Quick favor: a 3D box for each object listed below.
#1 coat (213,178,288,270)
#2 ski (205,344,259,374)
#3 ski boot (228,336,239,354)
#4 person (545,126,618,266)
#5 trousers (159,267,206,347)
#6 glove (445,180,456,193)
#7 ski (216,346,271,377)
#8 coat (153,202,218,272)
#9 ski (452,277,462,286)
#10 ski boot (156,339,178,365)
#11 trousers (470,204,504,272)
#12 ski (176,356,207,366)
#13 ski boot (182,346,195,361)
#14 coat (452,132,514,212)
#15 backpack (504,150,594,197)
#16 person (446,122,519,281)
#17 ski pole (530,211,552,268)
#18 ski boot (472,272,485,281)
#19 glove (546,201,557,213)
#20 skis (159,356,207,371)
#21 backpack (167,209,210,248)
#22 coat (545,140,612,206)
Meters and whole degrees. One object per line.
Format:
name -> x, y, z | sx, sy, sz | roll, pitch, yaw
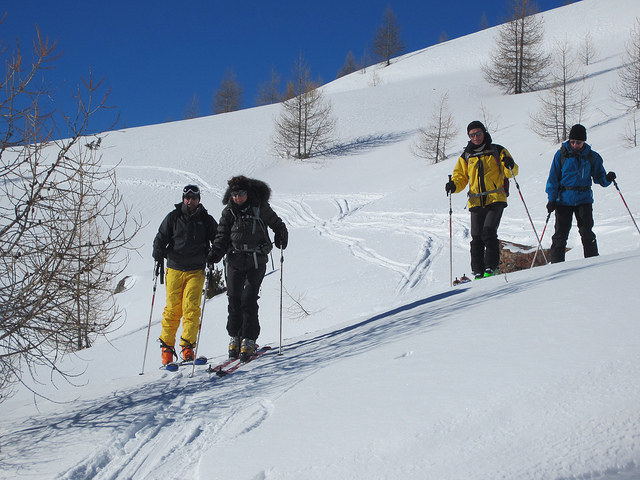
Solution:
coat -> -0.955, -0.193, 7.074 | 0.956, 0.964, 0.352 | -13, 6, -3
ski -> -1.104, 1.426, 6.929 | 0.138, 0.197, 1.069 | 18, 15, 17
ski boot -> -1.089, 1.322, 6.895 | 0.117, 0.201, 0.185 | 2, -20, -3
person -> 3.741, -0.676, 7.951 | 1.066, 1.898, 0.582 | -12, 6, 1
trousers -> -1.929, 0.844, 7.372 | 0.532, 1.349, 0.376 | 5, 15, -15
glove -> 1.986, -0.804, 8.350 | 0.130, 0.205, 0.065 | 9, -9, -25
ski -> -0.915, 1.413, 6.651 | 0.172, 0.102, 1.130 | 17, 12, 15
coat -> -1.834, -0.080, 7.611 | 0.962, 1.042, 0.485 | 1, 19, -20
ski -> 2.051, 0.638, 8.195 | 0.086, 0.095, 0.091 | -1, 2, -23
ski boot -> -2.010, 1.445, 7.154 | 0.200, 0.303, 0.515 | -14, 6, -19
trousers -> 2.499, -0.022, 8.136 | 0.593, 0.933, 0.345 | -10, 6, 19
ski -> -1.595, 1.531, 6.925 | 0.306, 0.120, 0.046 | -15, -30, 37
ski boot -> -1.754, 1.501, 7.249 | 0.138, 0.225, 0.216 | 0, -27, -12
coat -> 2.443, -1.102, 8.252 | 0.834, 1.354, 0.653 | -8, -19, 25
backpack -> 3.406, -1.011, 7.768 | 0.778, 0.961, 0.243 | 5, 12, 11
person -> 2.472, -0.634, 8.181 | 0.954, 2.228, 0.736 | -10, 6, 14
ski pole -> 4.330, 0.019, 10.656 | 0.067, 1.181, 0.052 | 15, -15, 14
ski boot -> 2.355, 0.539, 8.093 | 0.131, 0.072, 0.152 | 0, 21, 17
glove -> 3.438, -0.496, 8.092 | 0.102, 0.208, 0.168 | 2, 4, -16
skis -> -1.763, 1.584, 6.992 | 0.505, 0.170, 0.166 | -21, -17, 7
backpack -> -1.843, -0.180, 7.685 | 0.387, 0.614, 0.585 | 1, 16, -2
coat -> 3.766, -0.994, 8.035 | 0.858, 0.957, 0.467 | -11, 6, 16
